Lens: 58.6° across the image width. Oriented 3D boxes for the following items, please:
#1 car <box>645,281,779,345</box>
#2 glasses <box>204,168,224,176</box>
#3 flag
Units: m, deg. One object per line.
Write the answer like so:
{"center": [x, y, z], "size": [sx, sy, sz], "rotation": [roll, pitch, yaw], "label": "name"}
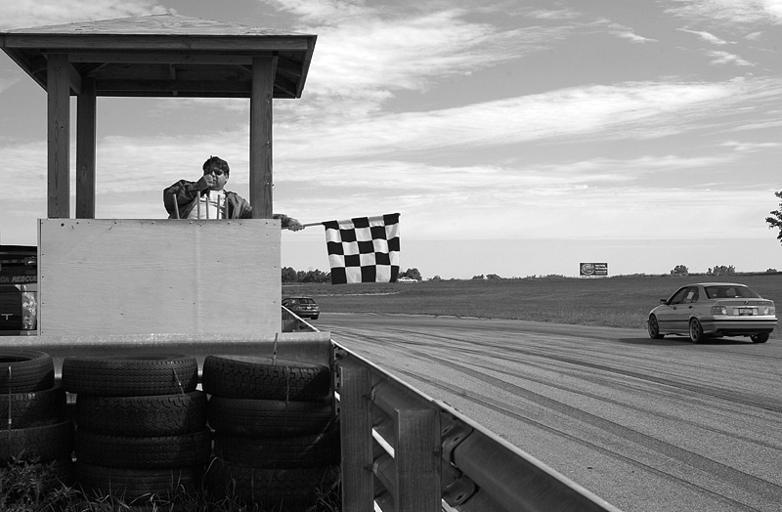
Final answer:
{"center": [9.304, 1.561, 20.953], "size": [1.786, 1.279, 3.861], "rotation": [1, 1, -4], "label": "car"}
{"center": [-2.077, -0.997, 8.255], "size": [0.135, 0.051, 0.139], "rotation": [-3, -7, -7], "label": "glasses"}
{"center": [-0.299, -0.084, 8.016], "size": [0.809, 0.715, 0.073], "rotation": [-1, 6, 9], "label": "flag"}
